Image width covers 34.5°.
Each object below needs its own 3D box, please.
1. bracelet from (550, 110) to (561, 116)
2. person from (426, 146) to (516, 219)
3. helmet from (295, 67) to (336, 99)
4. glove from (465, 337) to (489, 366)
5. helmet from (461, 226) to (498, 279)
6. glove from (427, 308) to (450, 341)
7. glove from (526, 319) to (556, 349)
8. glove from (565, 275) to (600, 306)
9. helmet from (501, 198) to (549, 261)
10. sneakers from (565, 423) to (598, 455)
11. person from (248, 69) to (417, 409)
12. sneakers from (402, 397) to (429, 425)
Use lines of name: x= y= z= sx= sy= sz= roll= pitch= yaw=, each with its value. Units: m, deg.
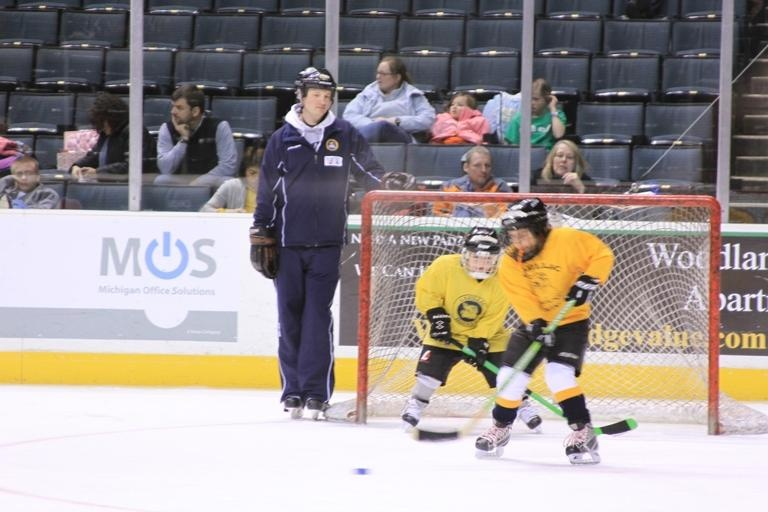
bracelet: x=1.152 y=-0.961 z=8.290 sx=0.064 sy=0.030 sz=0.017 roll=0 pitch=15 yaw=-1
person: x=0.502 y=-0.463 z=8.216 sx=0.875 sy=0.591 sz=0.464 roll=0 pitch=0 yaw=6
helmet: x=-0.442 y=-1.087 z=7.760 sx=0.248 sy=0.191 sz=0.185 roll=-4 pitch=-1 yaw=21
glove: x=0.573 y=0.582 z=7.582 sx=0.139 sy=0.153 sz=0.051 roll=-4 pitch=-8 yaw=25
helmet: x=0.576 y=-0.011 z=7.478 sx=0.254 sy=0.276 sz=0.302 roll=7 pitch=27 yaw=-5
glove: x=0.337 y=0.421 z=7.548 sx=0.207 sy=0.166 sz=0.061 roll=-2 pitch=2 yaw=23
glove: x=0.879 y=0.447 z=7.147 sx=0.173 sy=0.064 sz=0.164 roll=44 pitch=15 yaw=-26
glove: x=1.147 y=0.200 z=7.188 sx=0.132 sy=0.211 sz=0.090 roll=44 pitch=11 yaw=3
helmet: x=0.833 y=-0.149 z=7.232 sx=0.296 sy=0.363 sz=0.174 roll=-2 pitch=15 yaw=-7
sneakers: x=1.136 y=1.053 z=7.082 sx=0.191 sy=0.188 sz=0.139 roll=1 pitch=15 yaw=6
person: x=-0.489 y=-0.083 z=7.781 sx=0.598 sy=2.150 sz=0.733 roll=10 pitch=18 yaw=32
sneakers: x=0.193 y=0.967 z=7.656 sx=0.116 sy=0.157 sz=0.142 roll=23 pitch=-17 yaw=25
